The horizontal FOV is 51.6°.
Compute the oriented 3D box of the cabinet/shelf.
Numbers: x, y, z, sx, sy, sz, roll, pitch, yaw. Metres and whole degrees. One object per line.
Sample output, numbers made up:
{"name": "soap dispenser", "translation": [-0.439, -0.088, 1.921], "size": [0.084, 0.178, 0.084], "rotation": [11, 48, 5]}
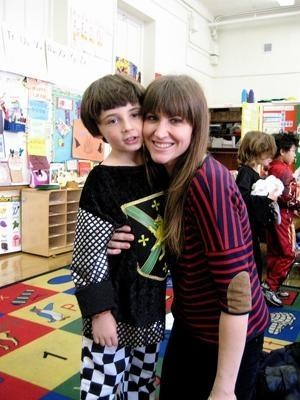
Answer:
{"name": "cabinet/shelf", "translation": [-1.301, 0.272, 4.248], "size": [0.357, 0.843, 0.957], "rotation": [2, 3, 11]}
